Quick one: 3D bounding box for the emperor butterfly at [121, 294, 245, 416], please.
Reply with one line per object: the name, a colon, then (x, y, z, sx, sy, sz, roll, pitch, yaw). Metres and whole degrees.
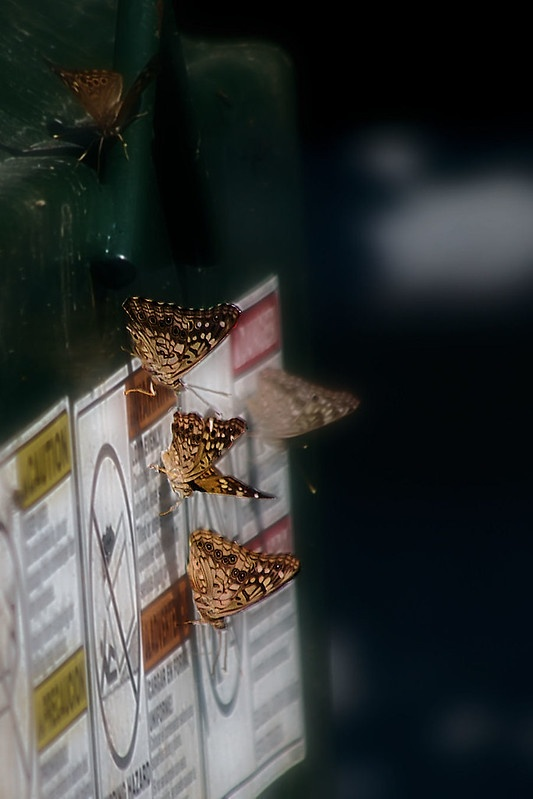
emperor butterfly: (-0.105, -0.072, 1.113, 0.139, 0.117, 0.073, -13, 15, -38)

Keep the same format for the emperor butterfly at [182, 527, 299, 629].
emperor butterfly: (-0.024, 0.206, 1.122, 0.136, 0.107, 0.072, 6, 22, 31)

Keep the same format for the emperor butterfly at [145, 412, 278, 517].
emperor butterfly: (-0.075, 0.081, 1.102, 0.096, 0.115, 0.076, -6, -19, -16)

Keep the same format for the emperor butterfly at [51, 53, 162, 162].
emperor butterfly: (-0.234, -0.378, 1.180, 0.142, 0.111, 0.088, 27, 6, -40)
